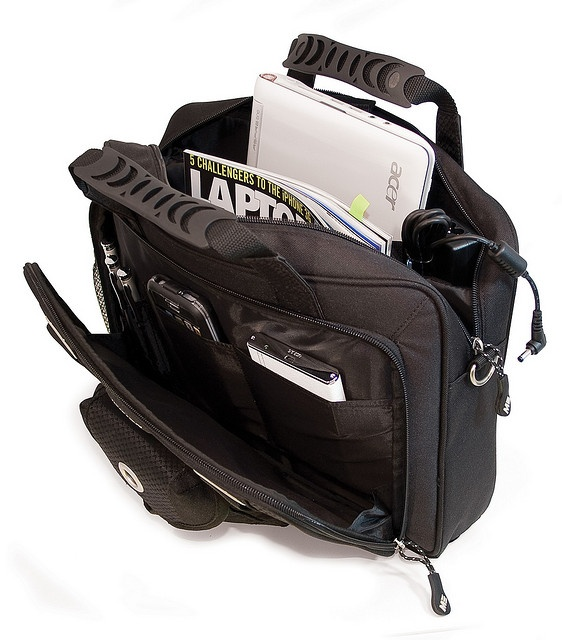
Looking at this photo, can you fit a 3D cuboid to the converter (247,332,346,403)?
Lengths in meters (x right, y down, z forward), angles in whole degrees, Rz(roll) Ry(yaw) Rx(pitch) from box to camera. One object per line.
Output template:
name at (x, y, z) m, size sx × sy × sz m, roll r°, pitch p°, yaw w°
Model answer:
converter at (0.026, 0.062, 0.919) m, size 0.130 × 0.055 × 0.026 m, roll 24°, pitch 58°, yaw 25°

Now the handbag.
handbag at (-0.025, 0.025, 1.121) m, size 0.864 × 0.607 × 0.550 m, roll 22°, pitch 41°, yaw 36°

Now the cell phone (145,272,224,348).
cell phone at (-0.169, -0.012, 1.064) m, size 0.038 × 0.077 × 0.150 m, roll -29°, pitch 29°, yaw -20°
